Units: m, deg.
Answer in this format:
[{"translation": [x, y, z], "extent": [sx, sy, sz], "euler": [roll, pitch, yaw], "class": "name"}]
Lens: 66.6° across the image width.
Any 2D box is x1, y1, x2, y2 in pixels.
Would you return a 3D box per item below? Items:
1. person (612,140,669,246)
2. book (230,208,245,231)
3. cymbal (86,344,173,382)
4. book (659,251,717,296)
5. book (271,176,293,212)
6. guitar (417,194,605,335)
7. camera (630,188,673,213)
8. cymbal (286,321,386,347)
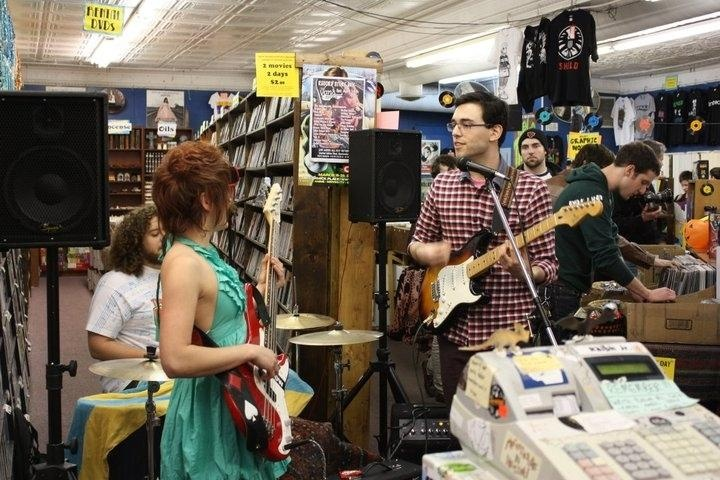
[{"translation": [2.762, -0.225, 5.443], "extent": [0.395, 1.367, 1.322], "euler": [-5, -10, 29], "class": "person"}, {"translation": [-1.534, -0.254, 6.883], "extent": [0.118, 0.351, 0.303], "euler": [7, -7, -23], "class": "book"}, {"translation": [-1.120, 0.619, 2.882], "extent": [0.453, 0.120, 0.472], "euler": [-3, -10, 27], "class": "cymbal"}, {"translation": [2.558, 0.266, 4.287], "extent": [0.347, 0.140, 0.457], "euler": [2, 2, 44], "class": "book"}, {"translation": [-0.729, -0.468, 5.564], "extent": [0.092, 0.355, 0.345], "euler": [5, -3, -39], "class": "book"}, {"translation": [0.760, 0.121, 2.864], "extent": [0.115, 0.303, 0.803], "euler": [12, -30, -36], "class": "guitar"}, {"translation": [2.754, -0.373, 5.196], "extent": [0.413, 0.206, 0.265], "euler": [-8, 12, -38], "class": "camera"}, {"translation": [-0.144, 0.618, 3.500], "extent": [0.334, 0.070, 0.338], "euler": [-5, 7, -29], "class": "cymbal"}]
